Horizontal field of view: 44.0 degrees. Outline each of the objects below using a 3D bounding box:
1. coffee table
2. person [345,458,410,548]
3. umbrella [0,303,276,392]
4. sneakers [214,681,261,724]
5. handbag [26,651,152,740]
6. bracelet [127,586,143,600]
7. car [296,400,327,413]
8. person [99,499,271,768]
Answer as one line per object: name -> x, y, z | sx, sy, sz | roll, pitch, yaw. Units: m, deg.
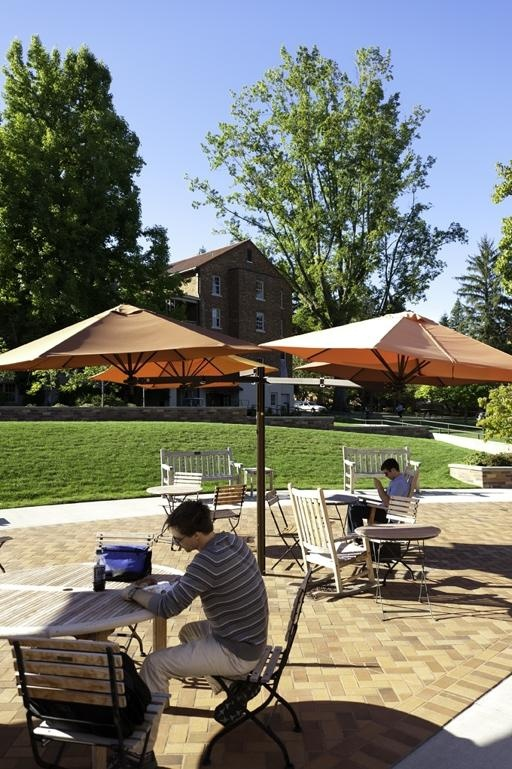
coffee table -> 1.696, 2.106, 7.259 | 1.103, 1.057, 1.013 | -1, -5, -2
person -> 1.614, 1.580, 8.515 | 0.802, 1.211, 0.531 | 5, -1, -1
umbrella -> -1.274, -0.324, 5.781 | 1.870, 0.594, 1.852 | -3, 0, 8
sneakers -> -0.127, 1.809, 3.709 | 0.189, 0.278, 0.103 | 43, -26, -11
handbag -> -0.781, 1.473, 2.969 | 0.592, 0.423, 0.142 | -9, -8, 24
bracelet -> -0.724, 1.232, 3.763 | 0.069, 0.094, 0.087 | 14, -11, -16
car -> 4.980, 2.116, 57.367 | 1.332, 0.927, 2.862 | -2, 0, -38
person -> -0.310, 1.215, 3.672 | 0.752, 1.058, 0.347 | -1, 1, -11
